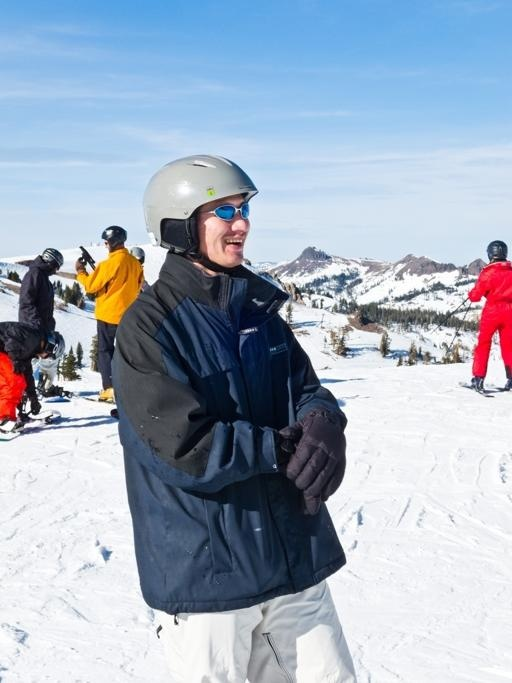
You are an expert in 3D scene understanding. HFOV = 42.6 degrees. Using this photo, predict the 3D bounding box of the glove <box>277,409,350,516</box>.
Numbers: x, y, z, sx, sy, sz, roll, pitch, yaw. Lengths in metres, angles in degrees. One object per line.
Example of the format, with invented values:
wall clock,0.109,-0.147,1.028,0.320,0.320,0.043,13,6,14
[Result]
glove,0.226,0.437,2.436,0.315,0.346,0.105,34,-20,-30

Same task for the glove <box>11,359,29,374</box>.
glove,-3.094,0.321,8.494,0.159,0.202,0.076,6,-11,-44

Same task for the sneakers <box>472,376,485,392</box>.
sneakers,3.808,0.735,11.260,0.202,0.253,0.263,3,6,11
